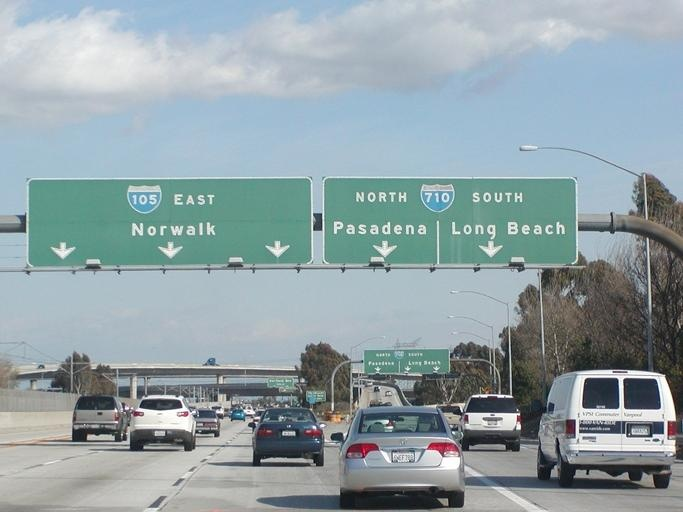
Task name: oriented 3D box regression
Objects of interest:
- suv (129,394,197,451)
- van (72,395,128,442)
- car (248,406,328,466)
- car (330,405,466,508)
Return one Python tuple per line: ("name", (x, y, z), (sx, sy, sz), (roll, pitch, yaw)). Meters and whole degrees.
("suv", (-7.458, 7.088, 65.062), (2.611, 2.337, 1.178), (1, -6, -11))
("van", (-11.213, 7.624, 71.960), (2.019, 2.521, 3.764), (1, -6, -6))
("car", (-2.035, 6.751, 58.356), (2.353, 2.329, 5.323), (2, -8, -5))
("car", (1.890, 6.340, 48.182), (3.719, 3.157, 1.418), (1, -6, -9))
